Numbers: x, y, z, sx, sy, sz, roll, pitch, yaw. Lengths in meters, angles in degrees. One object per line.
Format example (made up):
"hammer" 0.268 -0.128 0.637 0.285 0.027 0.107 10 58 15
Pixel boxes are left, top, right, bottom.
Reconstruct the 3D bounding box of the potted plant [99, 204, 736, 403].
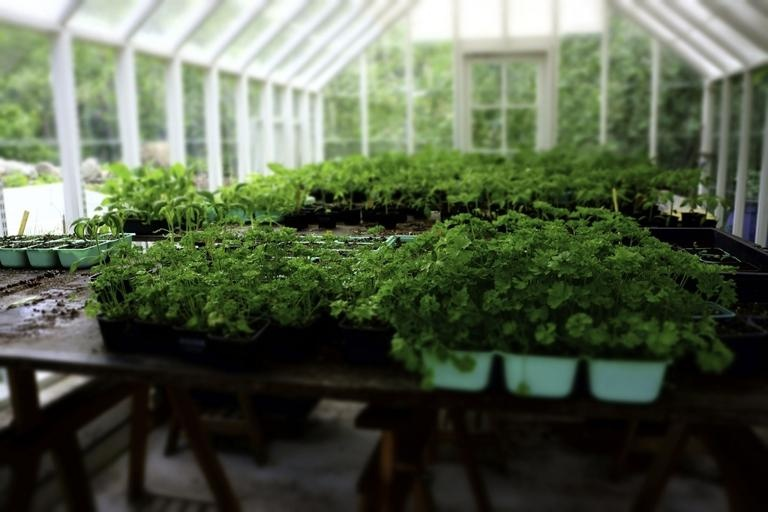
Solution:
"potted plant" 0.220 0.193 2.729 2.105 0.424 1.289 0 21 6
